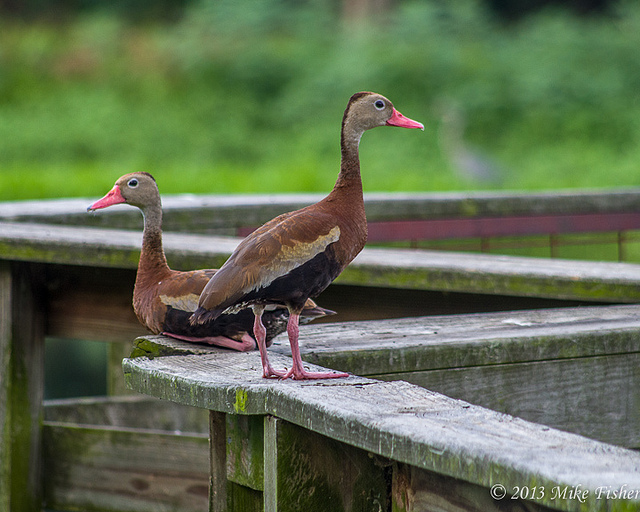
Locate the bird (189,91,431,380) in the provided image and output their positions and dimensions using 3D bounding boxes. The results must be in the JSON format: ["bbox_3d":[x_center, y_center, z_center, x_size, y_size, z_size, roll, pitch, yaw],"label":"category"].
[{"bbox_3d":[-0.007,-0.098,3.841,0.473,0.755,0.876,9,20,34],"label":"bird"}]

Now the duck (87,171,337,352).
[{"bbox_3d":[-0.381,0.035,4.461,0.968,0.638,0.336,3,-6,-7],"label":"duck"}]
